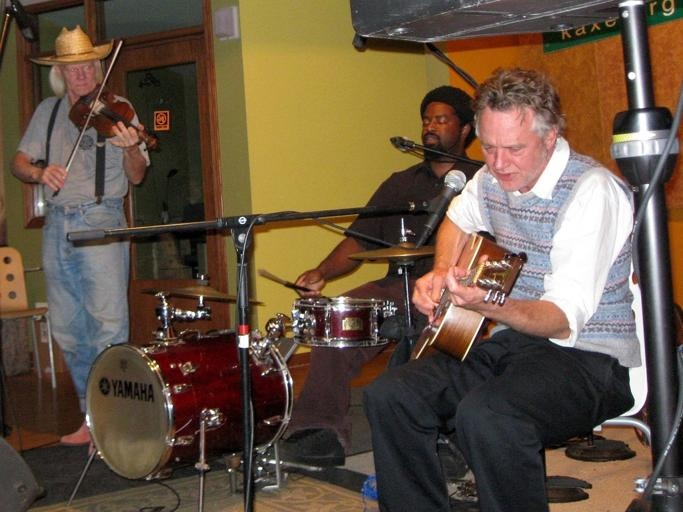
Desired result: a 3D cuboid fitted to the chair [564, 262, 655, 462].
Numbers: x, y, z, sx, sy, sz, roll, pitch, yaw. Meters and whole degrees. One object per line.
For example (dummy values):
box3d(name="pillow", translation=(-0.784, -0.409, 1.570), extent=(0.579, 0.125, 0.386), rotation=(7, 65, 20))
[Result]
box3d(name="chair", translation=(1.143, 0.501, 3.255), extent=(0.487, 0.845, 0.382), rotation=(-3, -4, 20))

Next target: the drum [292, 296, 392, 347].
box3d(name="drum", translation=(-0.007, 0.285, 3.022), extent=(0.292, 0.112, 0.281), rotation=(1, 3, 0))

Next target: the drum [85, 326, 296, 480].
box3d(name="drum", translation=(-0.642, 0.563, 3.004), extent=(0.564, 0.593, 0.725), rotation=(-23, -11, 40))

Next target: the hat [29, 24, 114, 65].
box3d(name="hat", translation=(-1.450, -1.135, 3.750), extent=(0.306, 0.128, 0.342), rotation=(-15, 11, -31))

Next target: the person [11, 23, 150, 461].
box3d(name="person", translation=(-1.300, -0.116, 3.642), extent=(0.745, 2.191, 0.512), rotation=(5, 8, 42))

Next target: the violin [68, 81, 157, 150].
box3d(name="violin", translation=(-1.133, -0.681, 3.624), extent=(0.481, 0.250, 0.123), rotation=(29, -11, -5))
